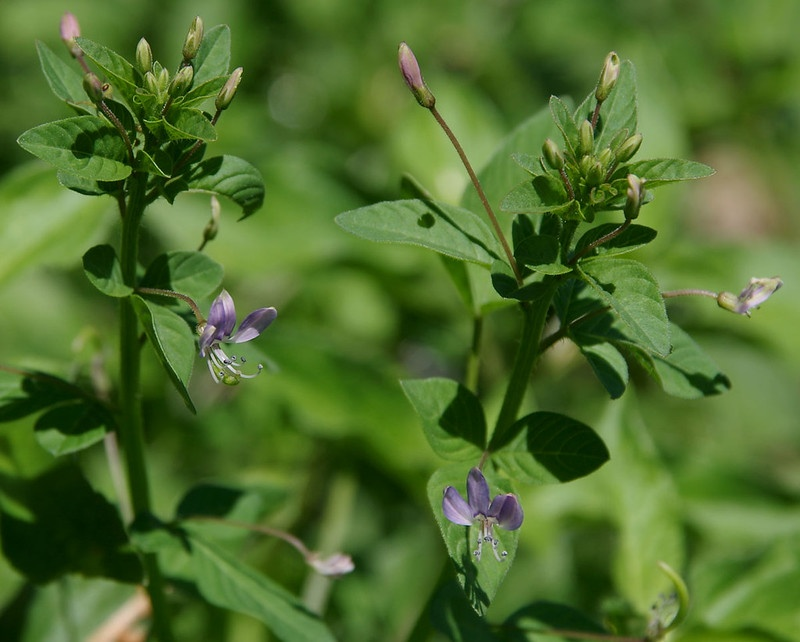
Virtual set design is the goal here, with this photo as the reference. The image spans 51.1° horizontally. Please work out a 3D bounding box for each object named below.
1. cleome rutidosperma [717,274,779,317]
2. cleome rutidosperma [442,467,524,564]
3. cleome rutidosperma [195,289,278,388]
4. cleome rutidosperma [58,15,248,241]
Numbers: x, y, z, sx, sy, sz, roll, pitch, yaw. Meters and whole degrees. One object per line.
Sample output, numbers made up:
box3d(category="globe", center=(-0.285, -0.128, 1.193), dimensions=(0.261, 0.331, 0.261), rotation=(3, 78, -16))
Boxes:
box3d(category="cleome rutidosperma", center=(0.742, -0.038, 1.793), dimensions=(0.139, 0.072, 0.076), rotation=(-7, -5, 19))
box3d(category="cleome rutidosperma", center=(0.161, 0.383, 1.661), dimensions=(0.163, 0.113, 0.220), rotation=(16, 20, 35))
box3d(category="cleome rutidosperma", center=(-0.352, 0.004, 1.720), dimensions=(0.200, 0.115, 0.165), rotation=(15, 18, 26))
box3d(category="cleome rutidosperma", center=(-0.521, -0.391, 1.785), dimensions=(0.437, 0.490, 0.393), rotation=(-2, 19, -17))
